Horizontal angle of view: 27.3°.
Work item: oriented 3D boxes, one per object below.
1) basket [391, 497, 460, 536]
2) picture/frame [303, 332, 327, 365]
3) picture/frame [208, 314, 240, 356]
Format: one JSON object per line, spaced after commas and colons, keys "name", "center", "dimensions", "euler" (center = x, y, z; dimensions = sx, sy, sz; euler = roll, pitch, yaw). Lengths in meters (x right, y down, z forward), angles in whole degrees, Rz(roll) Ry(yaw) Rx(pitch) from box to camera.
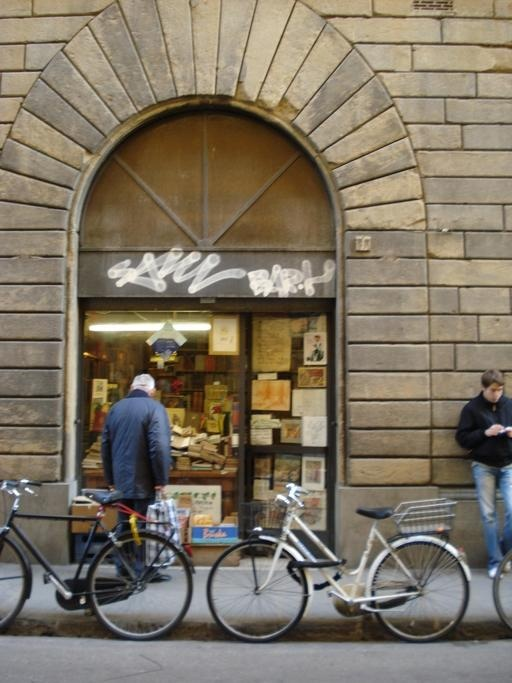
{"name": "basket", "center": [1.313, 1.344, 8.125], "dimensions": [0.465, 0.211, 0.295], "euler": [-2, -7, 6]}
{"name": "picture/frame", "center": [0.580, 0.071, 10.157], "dimensions": [0.329, 0.425, 0.043], "euler": [1, 0, 11]}
{"name": "picture/frame", "center": [-0.301, -0.067, 10.158], "dimensions": [0.407, 0.496, 0.024], "euler": [2, 0, 3]}
